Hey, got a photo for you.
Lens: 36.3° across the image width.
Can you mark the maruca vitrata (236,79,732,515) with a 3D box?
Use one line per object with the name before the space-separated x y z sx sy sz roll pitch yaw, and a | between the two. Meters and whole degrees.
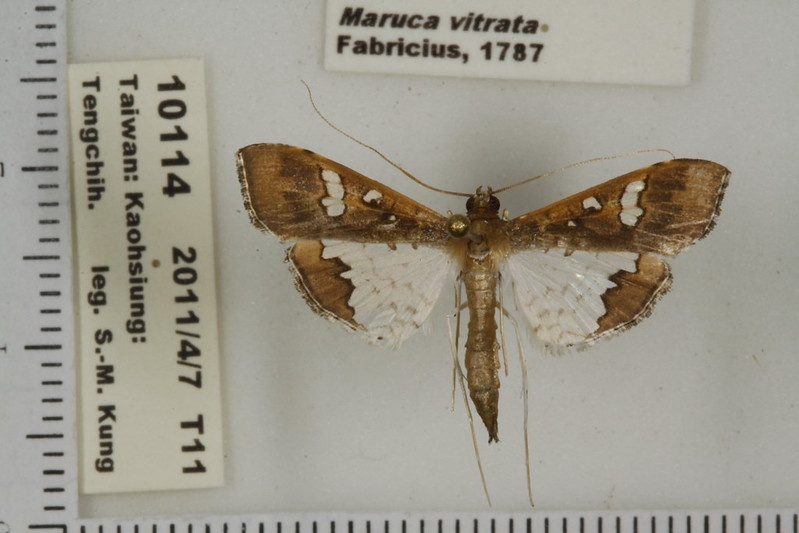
maruca vitrata | 0.500 0.079 6.430 2.045 1.780 0.959 2 -17 4
